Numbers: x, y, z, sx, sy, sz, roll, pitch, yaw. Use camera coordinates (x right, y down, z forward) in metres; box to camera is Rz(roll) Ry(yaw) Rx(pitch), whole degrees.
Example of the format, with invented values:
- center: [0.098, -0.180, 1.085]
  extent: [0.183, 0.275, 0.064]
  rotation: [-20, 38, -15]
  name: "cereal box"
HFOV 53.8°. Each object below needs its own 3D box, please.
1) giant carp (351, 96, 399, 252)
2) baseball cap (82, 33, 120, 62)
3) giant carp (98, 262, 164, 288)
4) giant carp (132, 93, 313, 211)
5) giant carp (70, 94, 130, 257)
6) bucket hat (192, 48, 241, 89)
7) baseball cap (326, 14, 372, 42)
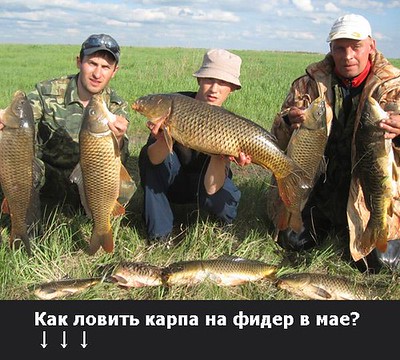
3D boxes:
- center: [1.576, -0.047, 3.558]
  extent: [0.590, 1.589, 0.353]
  rotation: [2, 13, 25]
  name: "giant carp"
- center: [-0.973, -1.332, 3.932]
  extent: [0.341, 0.268, 0.441]
  rotation: [4, 3, -22]
  name: "baseball cap"
- center: [-0.589, 0.856, 3.526]
  extent: [0.464, 0.201, 0.250]
  rotation: [-2, -4, 0]
  name: "giant carp"
- center: [0.147, -0.337, 3.316]
  extent: [1.614, 0.578, 0.271]
  rotation: [23, -10, 12]
  name: "giant carp"
- center: [-0.885, -0.017, 3.421]
  extent: [0.442, 1.330, 0.423]
  rotation: [18, 30, 20]
  name: "giant carp"
- center: [0.171, -1.056, 3.738]
  extent: [0.357, 0.216, 0.399]
  rotation: [23, 1, 30]
  name: "bucket hat"
- center: [1.470, -1.527, 3.967]
  extent: [0.396, 0.296, 0.558]
  rotation: [7, 15, 33]
  name: "baseball cap"
